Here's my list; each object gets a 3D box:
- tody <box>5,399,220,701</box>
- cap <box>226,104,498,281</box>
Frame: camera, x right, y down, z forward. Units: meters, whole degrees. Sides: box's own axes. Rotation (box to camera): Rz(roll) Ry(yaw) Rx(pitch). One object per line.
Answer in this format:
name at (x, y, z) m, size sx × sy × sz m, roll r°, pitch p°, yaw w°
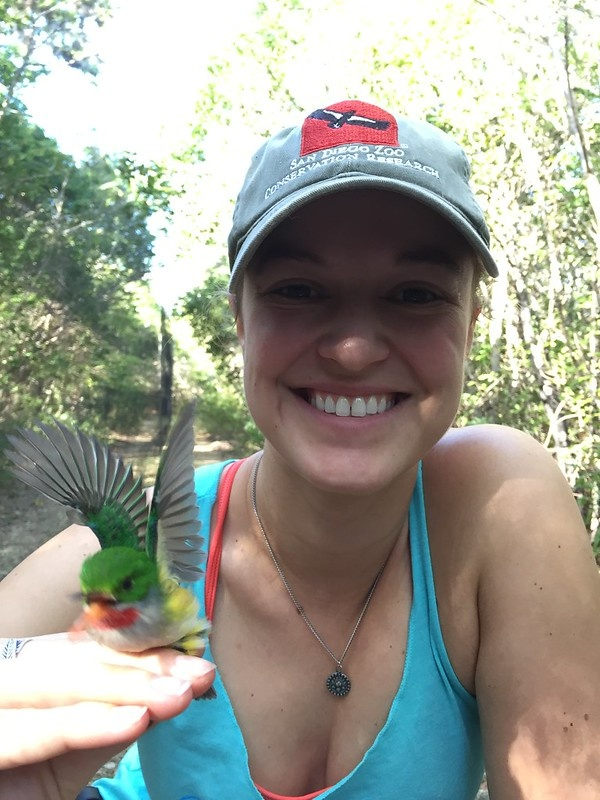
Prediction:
tody at (-0.331, 0.227, 1.322) m, size 0.382 × 0.432 × 0.281 m, roll 6°, pitch -3°, yaw 7°
cap at (0.122, -0.475, 1.841) m, size 0.437 × 0.278 × 0.557 m, roll 2°, pitch -5°, yaw -2°
